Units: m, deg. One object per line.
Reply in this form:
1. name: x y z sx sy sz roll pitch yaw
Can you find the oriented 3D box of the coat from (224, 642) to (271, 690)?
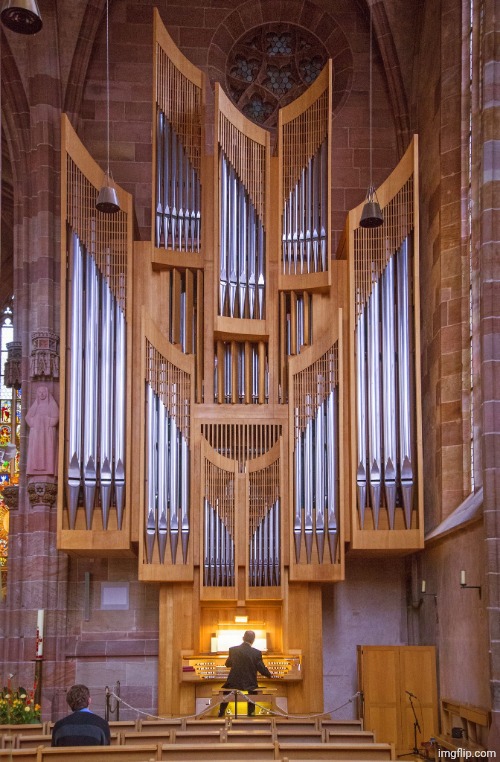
1. coat: -0.027 3.335 13.366 0.410 0.874 0.424 0 -9 7
